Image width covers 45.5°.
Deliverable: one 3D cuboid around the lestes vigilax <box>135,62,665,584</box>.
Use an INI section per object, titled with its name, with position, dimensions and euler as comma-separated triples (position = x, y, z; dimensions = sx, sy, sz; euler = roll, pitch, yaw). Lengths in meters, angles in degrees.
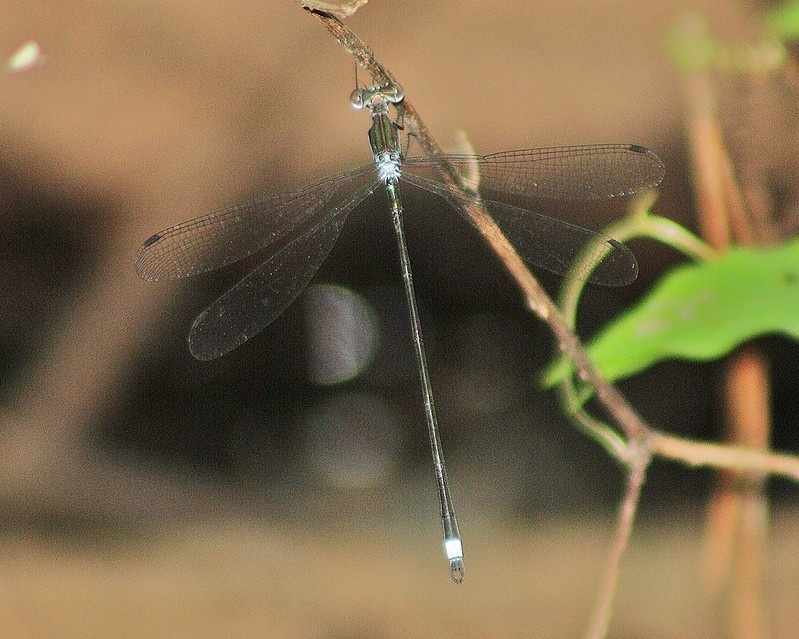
[lestes vigilax]
position = -0.026, -0.025, 1.040
dimensions = 0.489, 0.484, 0.090
euler = -14, -2, 2
